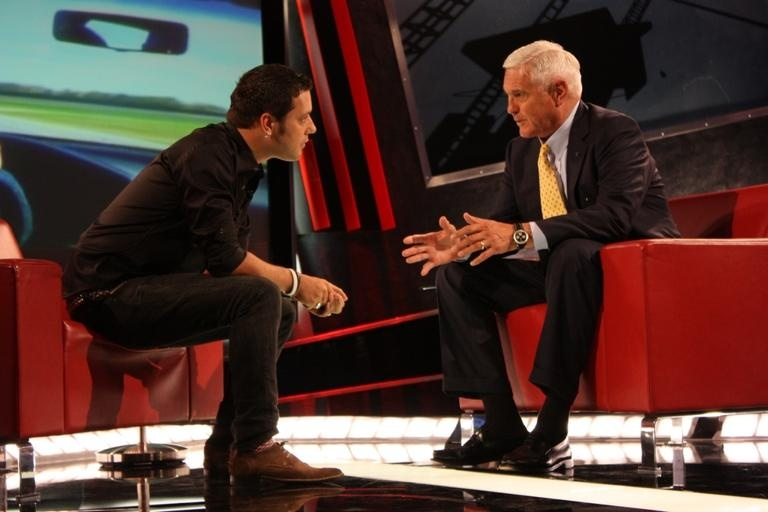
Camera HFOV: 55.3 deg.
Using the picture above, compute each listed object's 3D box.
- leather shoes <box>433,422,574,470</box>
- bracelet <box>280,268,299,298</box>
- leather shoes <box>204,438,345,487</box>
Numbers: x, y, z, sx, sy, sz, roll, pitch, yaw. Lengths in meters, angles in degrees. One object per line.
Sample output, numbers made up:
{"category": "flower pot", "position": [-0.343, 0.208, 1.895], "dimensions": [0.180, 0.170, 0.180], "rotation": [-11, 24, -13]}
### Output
{"category": "leather shoes", "position": [0.448, 0.712, 2.761], "dimensions": [0.502, 0.179, 0.170], "rotation": [1, -9, 8]}
{"category": "bracelet", "position": [-0.343, 0.094, 2.768], "dimensions": [0.038, 0.088, 0.081], "rotation": [6, -19, -37]}
{"category": "leather shoes", "position": [-0.306, 0.718, 2.665], "dimensions": [0.678, 0.215, 0.203], "rotation": [2, -11, -10]}
